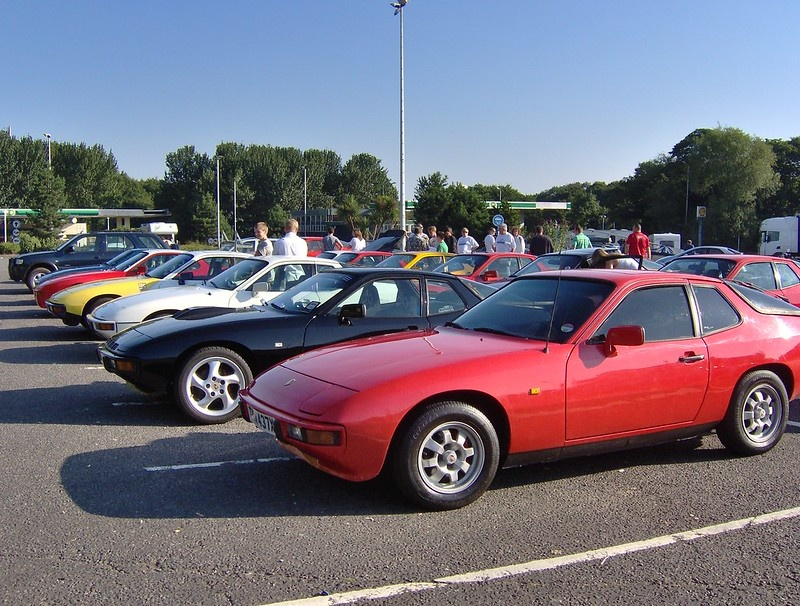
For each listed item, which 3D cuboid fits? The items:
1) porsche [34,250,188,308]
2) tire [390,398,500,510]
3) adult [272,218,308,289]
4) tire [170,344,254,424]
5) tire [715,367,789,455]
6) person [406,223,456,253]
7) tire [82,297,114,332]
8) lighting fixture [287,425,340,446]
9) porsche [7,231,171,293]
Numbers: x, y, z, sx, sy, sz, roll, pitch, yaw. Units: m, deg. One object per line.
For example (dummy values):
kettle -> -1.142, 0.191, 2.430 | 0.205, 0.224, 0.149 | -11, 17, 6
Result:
porsche -> -6.404, -0.677, 13.756 | 3.317, 1.028, 1.552 | -2, 4, -20
tire -> 0.306, 1.077, 4.591 | 0.869, 0.847, 0.335 | 1, 0, -19
adult -> -2.002, -0.967, 11.679 | 0.820, 0.642, 1.899 | -1, 13, -6
tire -> -1.976, 0.834, 6.557 | 0.813, 0.793, 0.264 | 6, -3, -16
tire -> 3.243, 0.994, 5.833 | 0.764, 0.740, 0.269 | 4, 0, -23
person -> 1.071, -1.853, 18.866 | 1.687, 0.706, 1.016 | 1, 6, -14
tire -> -4.811, 0.157, 10.026 | 0.570, 0.556, 0.202 | 4, 11, -2
lighting fixture -> -0.598, 0.925, 4.416 | 0.225, 0.084, 0.169 | -1, 8, -11
porsche -> -9.948, -1.393, 19.743 | 4.855, 1.585, 2.152 | -1, 3, -11
